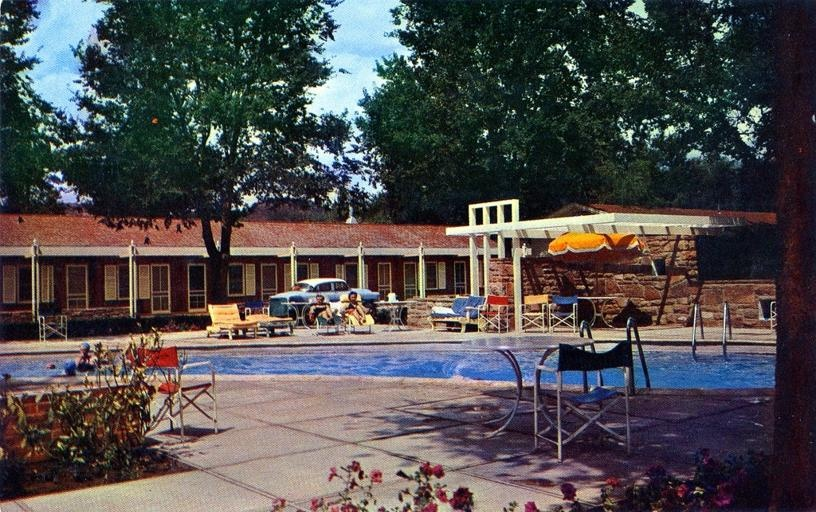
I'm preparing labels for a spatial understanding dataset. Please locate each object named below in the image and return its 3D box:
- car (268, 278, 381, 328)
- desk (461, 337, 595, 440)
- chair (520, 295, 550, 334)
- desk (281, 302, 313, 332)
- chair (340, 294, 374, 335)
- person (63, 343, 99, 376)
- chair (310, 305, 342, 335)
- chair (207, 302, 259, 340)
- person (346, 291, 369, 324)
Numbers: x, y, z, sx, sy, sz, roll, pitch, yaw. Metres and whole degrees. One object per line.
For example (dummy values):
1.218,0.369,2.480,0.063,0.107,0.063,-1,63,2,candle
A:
-3.426,1.861,39.767,4.106,1.440,1.819,-2,1,-37,car
2.483,2.698,21.542,1.719,1.945,1.797,5,-29,-1,desk
4.232,1.884,33.823,0.995,1.557,1.098,-1,-4,17,chair
-4.184,2.211,38.589,0.928,0.867,0.929,1,-5,-17,desk
-1.894,2.126,35.945,0.811,0.992,1.654,-1,-1,-15,chair
-7.229,2.217,22.319,0.651,0.655,1.544,-3,-4,-20,person
-2.854,2.313,36.174,0.632,0.947,1.740,0,-6,-15,chair
-6.051,2.194,34.526,1.556,1.218,2.899,-3,-4,-15,chair
-1.823,1.790,35.838,0.843,0.921,1.552,-7,10,-15,person
